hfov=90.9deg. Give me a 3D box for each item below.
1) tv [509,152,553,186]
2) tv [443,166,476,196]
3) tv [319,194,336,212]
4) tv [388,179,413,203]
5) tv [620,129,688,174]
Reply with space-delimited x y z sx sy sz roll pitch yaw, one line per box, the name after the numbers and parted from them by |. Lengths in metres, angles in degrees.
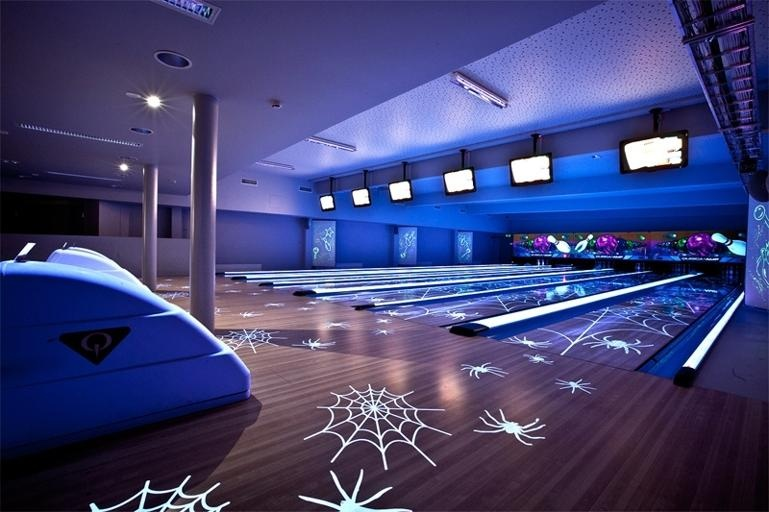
1.914 -1.139 4.969 0.580 0.369 0.083 -2 7 44 | tv
1.116 -1.141 5.718 0.563 0.432 0.299 -1 8 42 | tv
-1.194 -1.093 7.854 0.368 0.322 0.095 3 8 31 | tv
0.256 -1.112 6.550 0.429 0.366 0.108 0 7 36 | tv
2.851 -1.121 4.041 0.625 0.371 0.085 2 8 42 | tv
